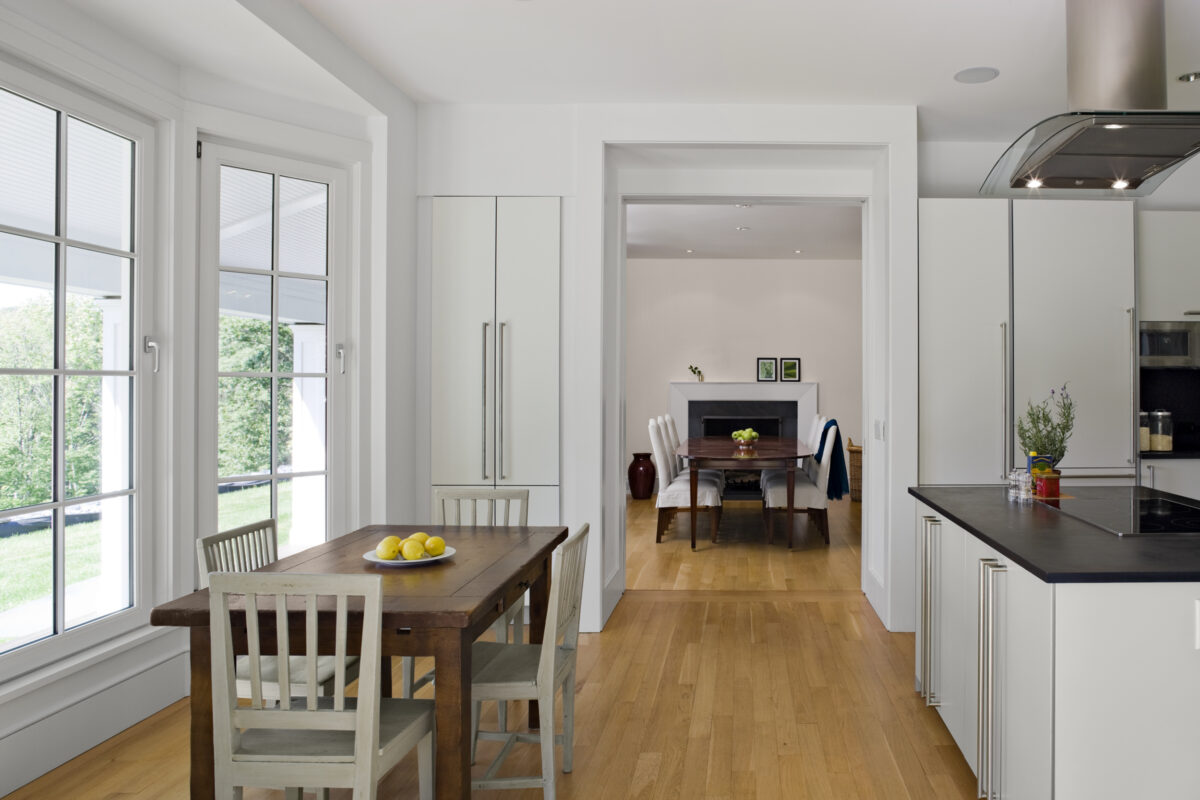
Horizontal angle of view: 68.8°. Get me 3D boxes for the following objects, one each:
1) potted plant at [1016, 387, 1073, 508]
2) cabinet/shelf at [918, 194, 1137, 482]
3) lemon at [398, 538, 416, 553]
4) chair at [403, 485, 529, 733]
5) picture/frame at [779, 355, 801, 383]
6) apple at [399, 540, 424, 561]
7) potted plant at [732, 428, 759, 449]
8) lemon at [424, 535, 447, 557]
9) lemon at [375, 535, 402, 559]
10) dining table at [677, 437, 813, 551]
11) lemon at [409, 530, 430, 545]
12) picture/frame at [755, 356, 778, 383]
[{"bbox_3d":[2.222,0.253,4.435,0.226,0.430,0.284,-3,8,-34],"label":"potted plant"},{"bbox_3d":[2.793,-0.563,5.890,1.146,1.937,0.688,5,34,32],"label":"cabinet/shelf"},{"bbox_3d":[-0.822,0.631,3.818,0.061,0.038,0.070,0,6,-9],"label":"lemon"},{"bbox_3d":[-0.521,1.044,4.648,0.720,1.069,0.711,18,12,40],"label":"chair"},{"bbox_3d":[2.291,-0.378,10.687,0.349,0.369,0.029,1,-1,-1],"label":"picture/frame"},{"bbox_3d":[-0.794,0.646,3.793,0.077,0.076,0.099,5,9,-2],"label":"apple"},{"bbox_3d":[1.385,0.371,8.458,0.204,0.132,0.204,1,0,17],"label":"potted plant"},{"bbox_3d":[-0.696,0.633,3.804,0.068,0.062,0.083,4,5,4],"label":"lemon"},{"bbox_3d":[-0.898,0.642,3.836,0.086,0.059,0.108,5,13,-26],"label":"lemon"},{"bbox_3d":[1.338,0.840,8.037,0.982,0.843,1.463,-1,2,10],"label":"dining table"},{"bbox_3d":[-0.784,0.608,3.870,0.055,0.037,0.069,5,-1,3],"label":"lemon"},{"bbox_3d":[2.016,-0.374,10.705,0.353,0.391,0.029,1,-1,0],"label":"picture/frame"}]
